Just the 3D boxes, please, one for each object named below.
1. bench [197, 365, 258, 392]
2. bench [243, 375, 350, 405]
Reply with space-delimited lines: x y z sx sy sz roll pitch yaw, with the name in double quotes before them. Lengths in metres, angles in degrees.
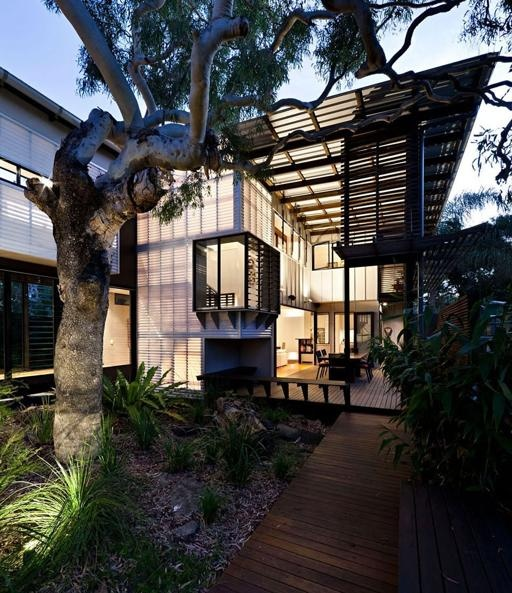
"bench" -0.588 1.780 9.110 1.114 0.490 2.898 -1 -4 1
"bench" 0.784 1.693 8.381 1.663 0.448 2.939 -1 -4 0
